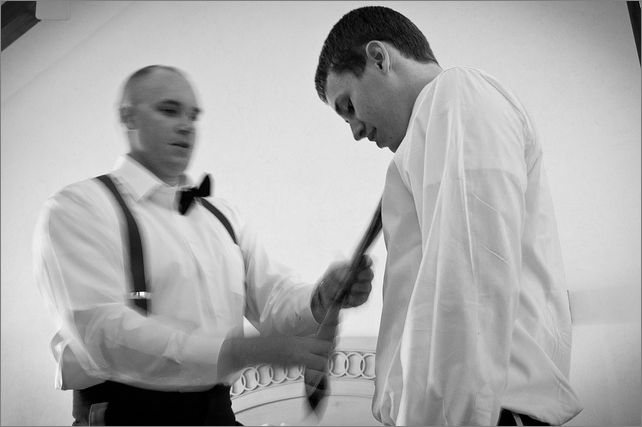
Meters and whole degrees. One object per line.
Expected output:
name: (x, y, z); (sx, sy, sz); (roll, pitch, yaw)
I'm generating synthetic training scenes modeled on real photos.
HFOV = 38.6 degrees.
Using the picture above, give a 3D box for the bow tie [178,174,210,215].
bow tie: (-0.551, -0.083, 3.959); (0.111, 0.186, 0.048); (38, -31, -1)

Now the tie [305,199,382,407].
tie: (0.094, 0.441, 4.064); (0.158, 1.029, 0.081); (25, 1, 22)
